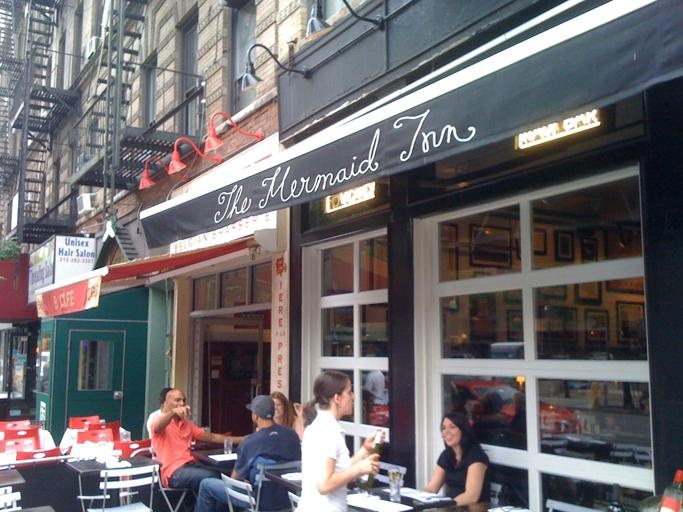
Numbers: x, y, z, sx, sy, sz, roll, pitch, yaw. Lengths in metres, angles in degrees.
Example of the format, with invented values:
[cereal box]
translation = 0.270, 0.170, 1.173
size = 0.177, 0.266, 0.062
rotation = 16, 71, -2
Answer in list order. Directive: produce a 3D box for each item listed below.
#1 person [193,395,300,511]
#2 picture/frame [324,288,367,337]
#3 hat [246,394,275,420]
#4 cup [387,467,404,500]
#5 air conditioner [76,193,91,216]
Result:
[person]
translation = -1.011, 2.115, 7.228
size = 0.599, 1.224, 1.478
rotation = 10, -16, -39
[picture/frame]
translation = 0.070, 0.671, 7.945
size = 0.120, 0.526, 1.061
rotation = 8, -15, -32
[hat]
translation = -0.840, 1.529, 6.945
size = 0.198, 0.178, 0.292
rotation = -2, 13, -34
[cup]
translation = 0.456, 1.951, 5.826
size = 0.102, 0.273, 0.226
rotation = -1, -12, 4
[air conditioner]
translation = -6.516, -1.331, 17.242
size = 0.285, 0.520, 0.556
rotation = 1, -15, -26
